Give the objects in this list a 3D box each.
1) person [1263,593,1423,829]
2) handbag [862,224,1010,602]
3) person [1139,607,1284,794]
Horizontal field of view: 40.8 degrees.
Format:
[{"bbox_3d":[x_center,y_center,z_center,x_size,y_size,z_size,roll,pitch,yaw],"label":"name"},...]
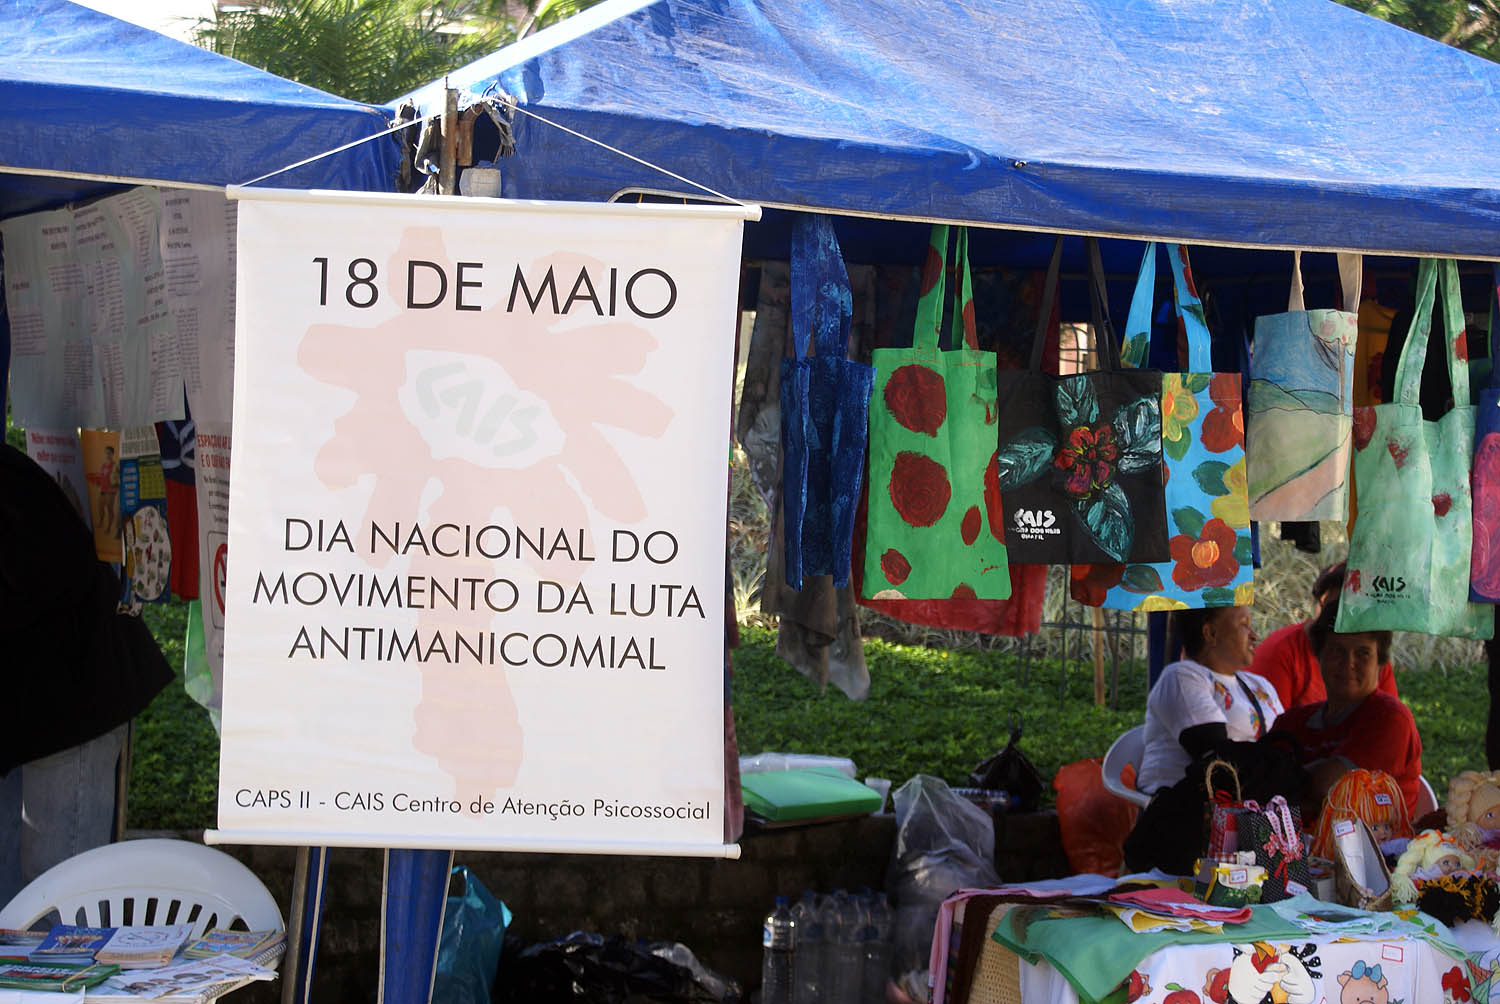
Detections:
[{"bbox_3d":[2.283,0.825,7.771,0.657,0.782,2.124,-9,-7,17],"label":"person"},{"bbox_3d":[0.602,-0.287,6.606,0.463,1.213,0.178,-3,5,-20],"label":"handbag"},{"bbox_3d":[1.867,0.777,8.070,0.490,0.816,0.656,-2,-8,43],"label":"person"}]
